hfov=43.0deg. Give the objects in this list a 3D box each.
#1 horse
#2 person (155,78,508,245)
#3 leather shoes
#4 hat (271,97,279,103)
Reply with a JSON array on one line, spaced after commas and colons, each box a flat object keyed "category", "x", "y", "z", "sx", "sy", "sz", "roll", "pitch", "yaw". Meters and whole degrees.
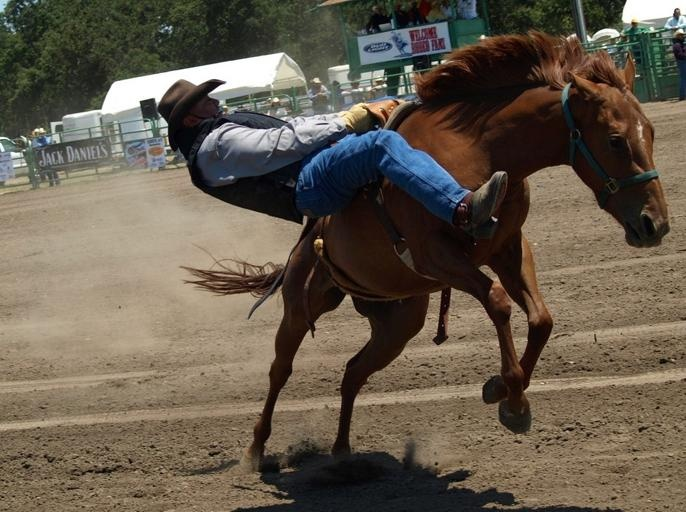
[{"category": "horse", "x": 0.446, "y": 0.090, "z": 6.648, "sx": 1.233, "sy": 2.410, "sz": 4.967, "roll": 4, "pitch": -13, "yaw": -31}, {"category": "person", "x": -0.087, "y": -0.754, "z": 6.330, "sx": 2.457, "sy": 1.118, "sz": 0.933, "roll": -2, "pitch": -3, "yaw": 8}, {"category": "leather shoes", "x": 0.868, "y": -0.288, "z": 5.347, "sx": 0.273, "sy": 0.170, "sz": 0.567, "roll": -14, "pitch": -18, "yaw": -14}, {"category": "hat", "x": -1.851, "y": -4.266, "z": 23.768, "sx": 0.326, "sy": 0.120, "sz": 0.284, "roll": -2, "pitch": 2, "yaw": -3}]
